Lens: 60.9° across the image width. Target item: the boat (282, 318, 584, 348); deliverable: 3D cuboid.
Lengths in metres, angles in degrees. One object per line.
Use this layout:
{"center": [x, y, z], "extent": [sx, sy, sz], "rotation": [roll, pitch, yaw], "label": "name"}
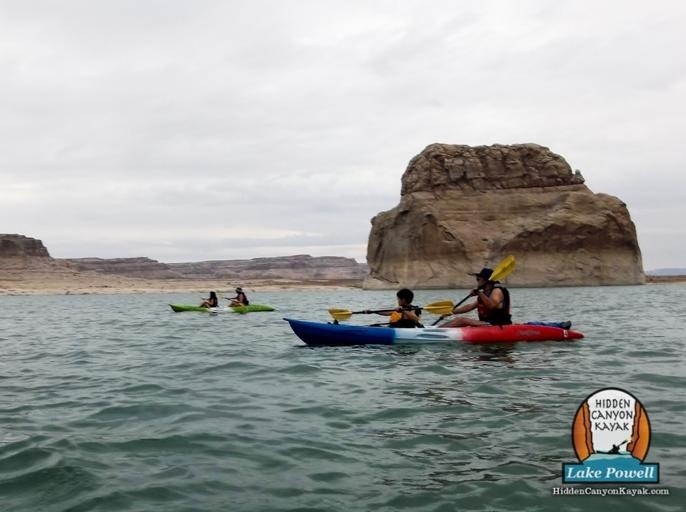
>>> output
{"center": [1.849, 1.573, 11.734], "extent": [7.153, 0.491, 0.856], "rotation": [0, -11, -1], "label": "boat"}
